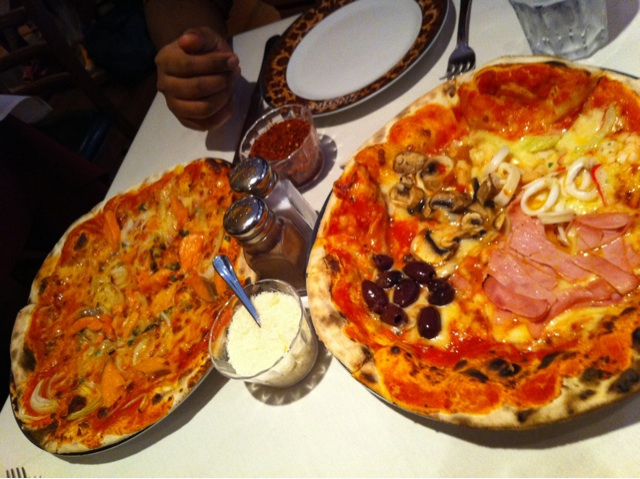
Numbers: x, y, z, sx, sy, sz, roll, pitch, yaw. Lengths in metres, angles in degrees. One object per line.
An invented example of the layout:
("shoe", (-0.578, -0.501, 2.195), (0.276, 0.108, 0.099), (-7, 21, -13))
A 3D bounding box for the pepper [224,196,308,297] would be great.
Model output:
("pepper", (-0.180, 0.029, 1.779), (0.192, 0.535, 0.194), (-10, 57, 23))

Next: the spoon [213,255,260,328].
("spoon", (-0.279, 0.180, 1.780), (0.036, 0.030, 0.274), (-28, 63, -10))

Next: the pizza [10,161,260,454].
("pizza", (-0.757, 0.299, 2.034), (0.999, 0.189, 0.962), (-23, 37, -2))

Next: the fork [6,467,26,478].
("fork", (-1.083, 0.829, 1.856), (0.081, 0.008, 0.034), (-14, 46, 3))

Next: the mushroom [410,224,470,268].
("mushroom", (0.367, 0.016, 1.639), (0.136, 0.044, 0.148), (3, 79, 35))

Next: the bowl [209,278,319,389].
("bowl", (-0.143, 0.320, 1.786), (0.326, 0.264, 0.377), (-17, 55, 33))

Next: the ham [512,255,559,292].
("ham", (0.633, 0.102, 1.535), (0.131, 0.054, 0.044), (17, 54, 29))

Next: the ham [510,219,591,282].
("ham", (0.681, 0.035, 1.636), (0.282, 0.137, 0.170), (1, 16, -7))

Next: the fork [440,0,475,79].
("fork", (0.528, -0.719, 1.974), (0.060, 0.059, 0.432), (6, 67, 23))

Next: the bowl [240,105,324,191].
("bowl", (-0.136, -0.381, 2.120), (0.317, 0.219, 0.365), (-27, 51, 28))

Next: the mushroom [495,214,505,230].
("mushroom", (0.550, -0.056, 1.593), (0.026, 0.009, 0.041), (8, 70, 46))

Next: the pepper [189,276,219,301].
("pepper", (-0.420, 0.176, 1.910), (0.067, 0.024, 0.099), (-40, 71, -17))

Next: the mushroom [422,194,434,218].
("mushroom", (0.344, -0.110, 1.674), (0.039, 0.013, 0.059), (16, 85, -17))
